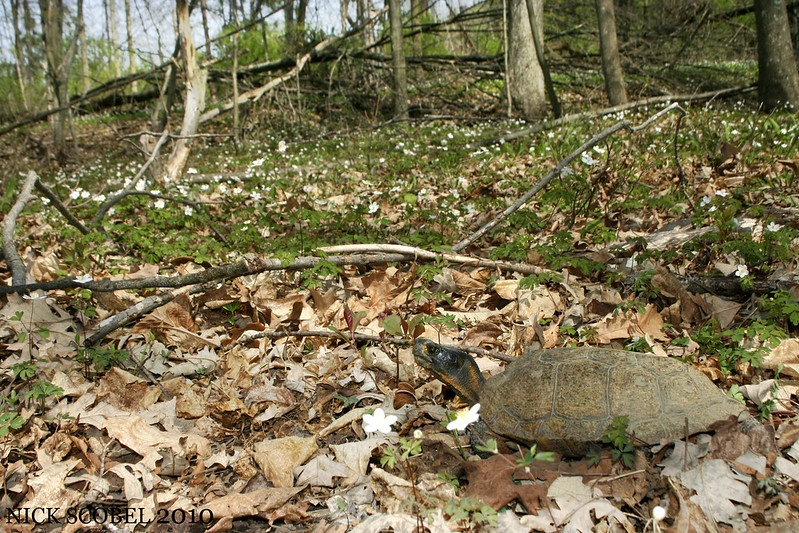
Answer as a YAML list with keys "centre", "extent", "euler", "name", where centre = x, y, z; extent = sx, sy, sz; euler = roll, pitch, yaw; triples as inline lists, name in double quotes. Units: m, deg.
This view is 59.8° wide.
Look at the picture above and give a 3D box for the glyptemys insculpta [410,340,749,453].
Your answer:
- centre: [2.136, 1.615, 8.875]
  extent: [3.981, 1.232, 2.164]
  euler: [-2, 8, 16]
  name: "glyptemys insculpta"
